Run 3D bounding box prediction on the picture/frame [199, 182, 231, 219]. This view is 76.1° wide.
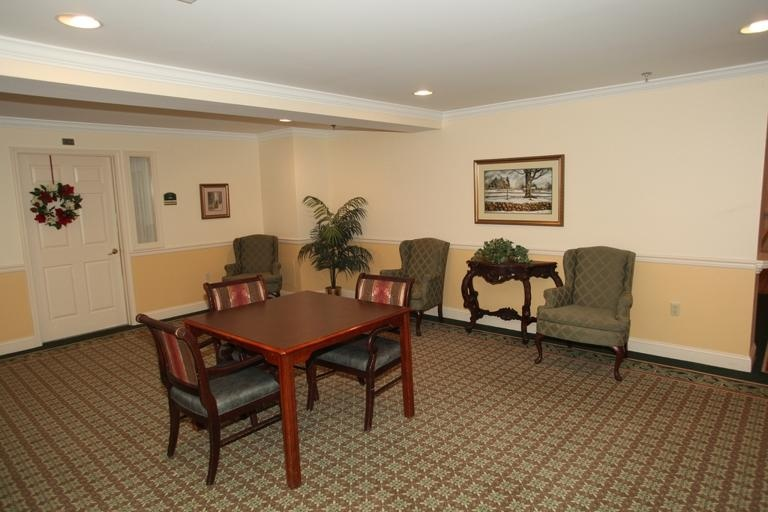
[{"bbox_3d":[-2.923,-0.953,8.418,0.057,0.711,0.614,6,11,40],"label":"picture/frame"}]

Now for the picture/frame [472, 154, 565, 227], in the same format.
[{"bbox_3d":[1.903,-0.914,6.747,1.088,0.768,0.043,4,11,34],"label":"picture/frame"}]

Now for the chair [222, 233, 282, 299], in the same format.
[{"bbox_3d":[-2.145,0.197,8.343,0.893,1.049,0.818,0,11,5],"label":"chair"}]

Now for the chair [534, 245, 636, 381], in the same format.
[{"bbox_3d":[2.439,0.608,5.946,0.988,1.375,0.923,6,12,28],"label":"chair"}]

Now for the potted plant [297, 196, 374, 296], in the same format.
[{"bbox_3d":[-0.808,-0.077,8.308,1.342,1.677,1.252,4,7,-19],"label":"potted plant"}]

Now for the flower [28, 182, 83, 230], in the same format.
[{"bbox_3d":[-4.681,-0.708,6.997,0.643,0.605,0.229,5,-5,-43],"label":"flower"}]

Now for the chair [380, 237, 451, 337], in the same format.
[{"bbox_3d":[0.465,0.406,7.340,0.924,1.196,0.920,4,13,27],"label":"chair"}]

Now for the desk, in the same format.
[{"bbox_3d":[1.752,0.623,6.587,1.124,0.793,0.523,3,5,42],"label":"desk"}]
